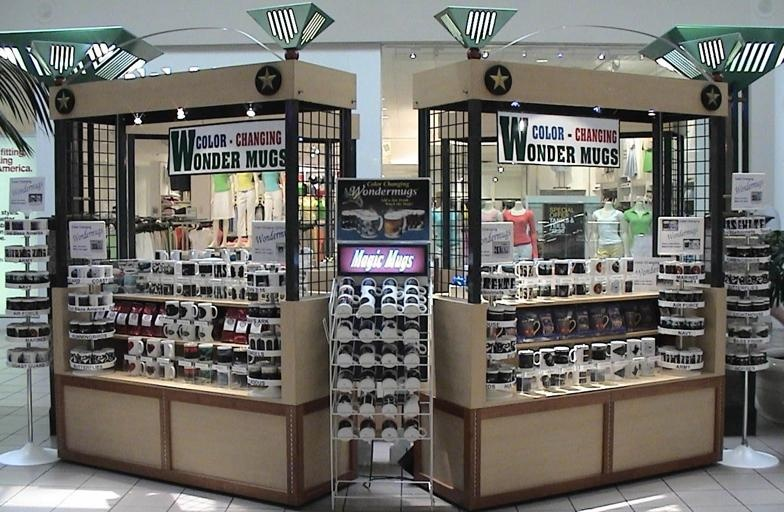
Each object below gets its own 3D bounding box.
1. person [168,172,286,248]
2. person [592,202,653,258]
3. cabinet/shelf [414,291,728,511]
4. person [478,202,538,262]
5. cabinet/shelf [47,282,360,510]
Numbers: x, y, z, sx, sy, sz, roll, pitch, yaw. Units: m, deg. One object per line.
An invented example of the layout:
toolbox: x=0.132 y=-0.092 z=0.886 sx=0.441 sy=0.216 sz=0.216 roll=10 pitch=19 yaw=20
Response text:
person: x=-2.170 y=-0.696 z=10.361 sx=1.494 sy=1.046 sz=0.473 roll=0 pitch=5 yaw=29
person: x=3.090 y=-0.326 z=9.442 sx=0.748 sy=0.905 sz=0.177 roll=0 pitch=-5 yaw=-6
cabinet/shelf: x=1.659 y=1.482 z=6.919 sx=1.962 sy=1.269 sz=0.631 roll=-2 pitch=4 yaw=-19
person: x=1.654 y=-0.374 z=9.755 sx=0.576 sy=0.787 sz=0.806 roll=0 pitch=5 yaw=34
cabinet/shelf: x=-1.782 y=1.443 z=6.960 sx=2.050 sy=1.380 sz=0.638 roll=1 pitch=1 yaw=24
